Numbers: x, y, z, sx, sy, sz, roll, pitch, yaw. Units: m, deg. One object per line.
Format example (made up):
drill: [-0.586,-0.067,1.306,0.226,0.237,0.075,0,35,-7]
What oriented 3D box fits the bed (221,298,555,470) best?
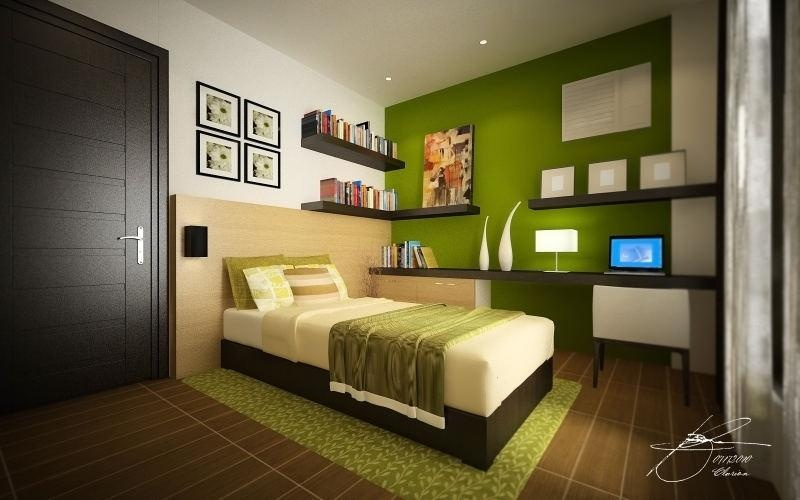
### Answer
bed: [-0.243,1.140,4.583,2.385,0.653,1.406,1,1,35]

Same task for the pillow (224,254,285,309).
pillow: [-1.674,0.327,5.370,0.562,0.520,0.167,-5,-17,-42]

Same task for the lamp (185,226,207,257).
lamp: [-2.113,-0.105,5.203,0.179,0.302,0.104,0,4,-40]

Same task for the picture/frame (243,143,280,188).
picture/frame: [-1.634,-0.993,5.791,0.036,0.524,0.560,1,-1,42]

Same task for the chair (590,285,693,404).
chair: [2.407,0.897,5.165,1.062,1.447,1.002,-1,-3,30]

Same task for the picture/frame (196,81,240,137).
picture/frame: [-2.022,-1.547,5.457,0.049,0.706,0.670,-4,-4,42]

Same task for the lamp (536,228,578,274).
lamp: [1.795,0.006,5.709,0.418,0.487,0.542,1,4,26]

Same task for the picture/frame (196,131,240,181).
picture/frame: [-2.020,-1.036,5.456,0.593,0.586,0.038,1,-1,-45]

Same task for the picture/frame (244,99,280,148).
picture/frame: [-1.631,-1.476,5.795,0.078,0.618,0.622,-2,-4,42]
